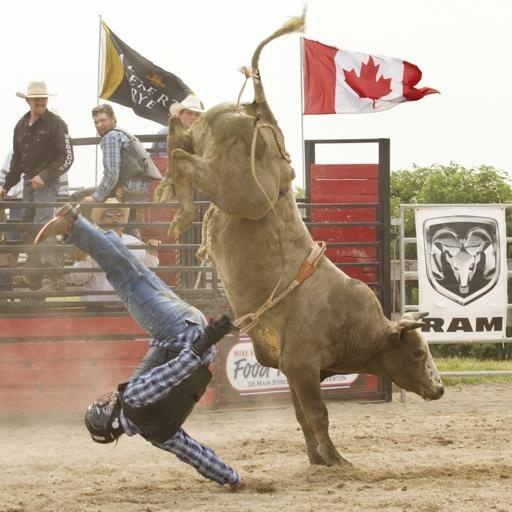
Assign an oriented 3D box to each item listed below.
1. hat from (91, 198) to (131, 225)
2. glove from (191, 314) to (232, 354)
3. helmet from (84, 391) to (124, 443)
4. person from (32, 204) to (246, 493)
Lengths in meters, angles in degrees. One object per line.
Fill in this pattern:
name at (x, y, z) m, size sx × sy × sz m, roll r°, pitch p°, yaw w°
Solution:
hat at (-1.574, -0.489, 13.905) m, size 0.338 × 0.327 × 0.094 m, roll 2°, pitch 13°, yaw -12°
glove at (-0.350, 0.624, 10.582) m, size 0.330 × 0.325 × 0.212 m, roll -1°, pitch 5°, yaw -1°
helmet at (-1.205, 1.288, 10.564) m, size 0.367 × 0.397 × 0.324 m, roll -6°, pitch -21°, yaw -6°
person at (-0.876, 0.679, 10.941) m, size 0.963 × 2.281 × 1.509 m, roll -35°, pitch -17°, yaw 8°
